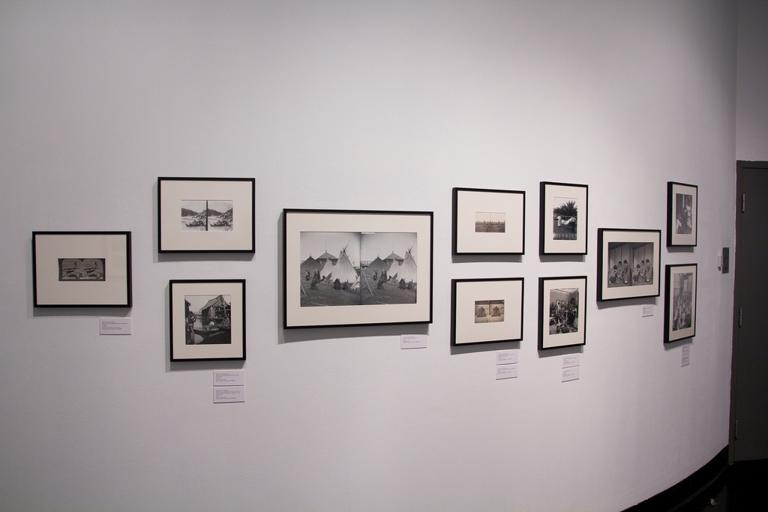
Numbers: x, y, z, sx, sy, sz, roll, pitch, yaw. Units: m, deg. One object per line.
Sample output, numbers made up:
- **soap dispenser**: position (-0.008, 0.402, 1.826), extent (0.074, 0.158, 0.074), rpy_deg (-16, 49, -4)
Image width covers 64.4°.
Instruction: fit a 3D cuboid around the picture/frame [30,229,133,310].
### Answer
- **picture/frame**: position (-2.530, 0.095, 5.014), extent (0.599, 0.548, 0.044), rpy_deg (-1, -2, -8)
